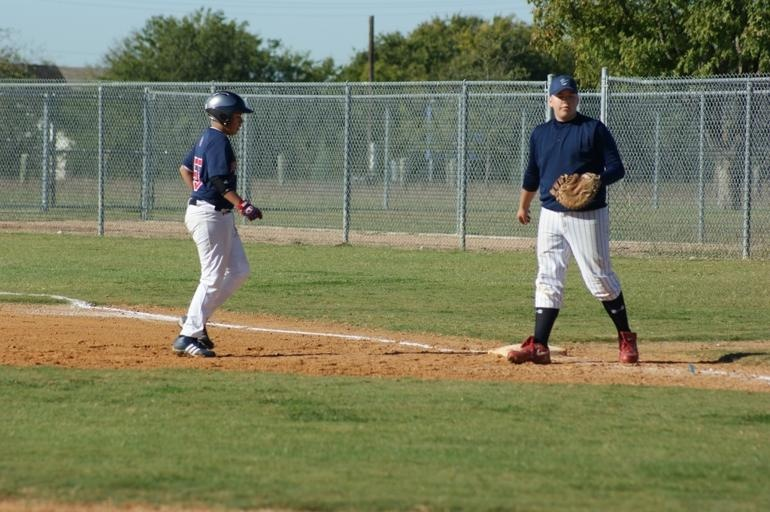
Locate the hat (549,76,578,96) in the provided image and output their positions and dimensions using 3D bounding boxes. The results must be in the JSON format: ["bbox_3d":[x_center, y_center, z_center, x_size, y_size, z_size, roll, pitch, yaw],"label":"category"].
[{"bbox_3d":[2.467,-2.402,20.646,0.357,0.278,0.460,0,4,3],"label":"hat"}]

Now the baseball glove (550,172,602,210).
[{"bbox_3d":[2.653,-1.022,20.476,0.713,0.555,0.226,18,16,36],"label":"baseball glove"}]

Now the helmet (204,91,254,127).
[{"bbox_3d":[-2.230,-2.121,20.937,0.586,0.293,0.410,-2,12,-7],"label":"helmet"}]

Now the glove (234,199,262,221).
[{"bbox_3d":[-1.884,-0.638,20.623,0.407,0.242,0.133,32,11,-25],"label":"glove"}]
